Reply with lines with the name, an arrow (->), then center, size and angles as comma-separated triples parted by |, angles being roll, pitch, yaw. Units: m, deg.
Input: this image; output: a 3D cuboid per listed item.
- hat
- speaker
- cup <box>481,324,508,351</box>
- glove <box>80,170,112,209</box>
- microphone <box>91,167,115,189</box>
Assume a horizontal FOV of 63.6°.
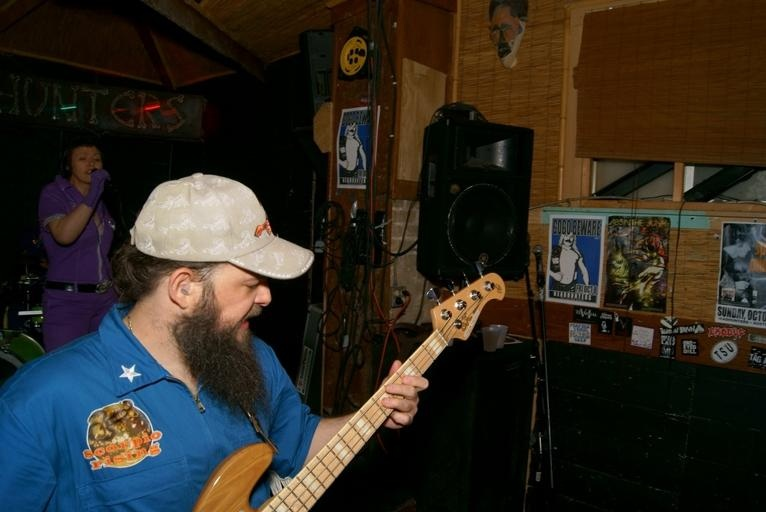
hat -> -0.865, -0.166, 3.277 | 0.796, 0.450, 0.542 | 4, 11, -4
speaker -> 0.807, -0.581, 4.991 | 0.774, 1.374, 0.767 | 7, 32, 13
cup -> 0.899, 0.657, 5.010 | 0.187, 0.171, 0.174 | -1, 2, 0
glove -> -2.329, -0.549, 5.000 | 0.183, 0.300, 0.104 | 21, -3, 38
microphone -> -2.327, -0.642, 5.092 | 0.115, 0.174, 0.054 | 3, -7, -9
